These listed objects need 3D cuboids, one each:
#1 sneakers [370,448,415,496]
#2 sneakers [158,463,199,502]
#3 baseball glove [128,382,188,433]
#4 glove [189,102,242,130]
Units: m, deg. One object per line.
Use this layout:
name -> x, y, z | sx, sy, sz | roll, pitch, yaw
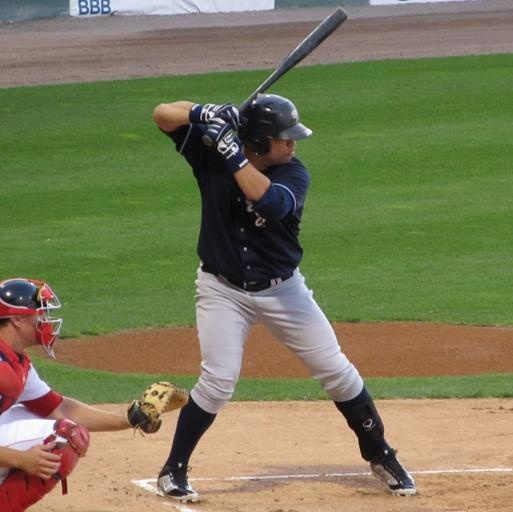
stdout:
sneakers -> 1.304, 2.143, 13.205 | 0.158, 0.215, 0.429 | -34, 60, -31
sneakers -> -0.768, 2.196, 12.955 | 0.195, 0.259, 0.554 | 0, 4, -42
baseball glove -> -0.908, 1.449, 12.702 | 0.282, 0.541, 0.411 | 39, 9, -47
glove -> -0.367, -1.381, 12.904 | 0.358, 0.274, 0.416 | -16, 33, -33
